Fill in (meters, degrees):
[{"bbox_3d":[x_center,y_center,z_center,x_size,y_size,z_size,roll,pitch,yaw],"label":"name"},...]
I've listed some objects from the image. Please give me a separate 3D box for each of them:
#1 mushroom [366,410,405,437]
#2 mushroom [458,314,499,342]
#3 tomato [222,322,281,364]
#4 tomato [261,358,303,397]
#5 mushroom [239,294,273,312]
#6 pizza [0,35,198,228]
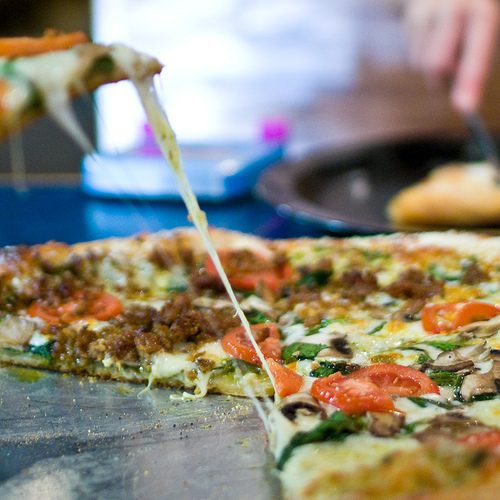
[{"bbox_3d":[0.510,0.648,2.449,0.143,0.025,0.128,3,31,7],"label":"mushroom"},{"bbox_3d":[1.067,0.365,3.028,0.192,0.027,0.114,-20,16,-25],"label":"mushroom"},{"bbox_3d":[0.004,0.431,3.173,0.275,0.098,0.352,-2,31,-2],"label":"tomato"},{"bbox_3d":[0.164,0.566,2.887,0.146,0.142,0.289,-9,34,-9],"label":"tomato"},{"bbox_3d":[0.033,0.285,3.624,0.179,0.079,0.240,-2,32,-2],"label":"mushroom"},{"bbox_3d":[-0.685,-0.526,2.853,0.703,0.749,0.575,-8,39,-8],"label":"pizza"}]
